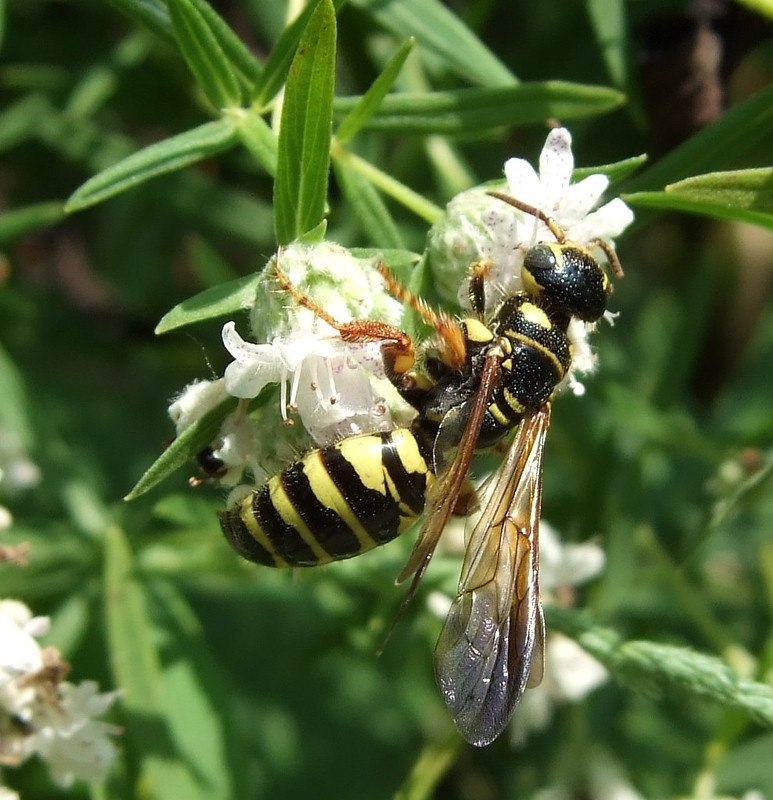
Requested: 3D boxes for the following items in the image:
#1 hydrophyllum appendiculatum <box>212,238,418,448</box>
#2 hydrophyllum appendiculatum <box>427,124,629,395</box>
[{"bbox_3d":[-0.103,-0.095,1.582,0.299,0.317,0.104,-15,42,-16],"label":"hydrophyllum appendiculatum"},{"bbox_3d":[0.227,-0.302,1.709,0.425,0.389,0.201,19,9,6],"label":"hydrophyllum appendiculatum"}]
